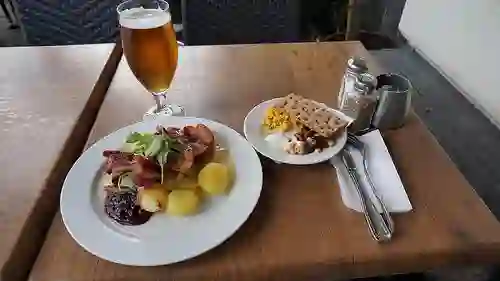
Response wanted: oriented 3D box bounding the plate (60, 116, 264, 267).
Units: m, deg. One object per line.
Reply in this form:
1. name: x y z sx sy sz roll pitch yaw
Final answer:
1. plate: -0.387 0.110 1.284 0.778 0.752 0.072 -15 64 -24

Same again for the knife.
1. knife: 0.400 0.156 1.207 0.065 0.033 0.449 -9 47 -5
